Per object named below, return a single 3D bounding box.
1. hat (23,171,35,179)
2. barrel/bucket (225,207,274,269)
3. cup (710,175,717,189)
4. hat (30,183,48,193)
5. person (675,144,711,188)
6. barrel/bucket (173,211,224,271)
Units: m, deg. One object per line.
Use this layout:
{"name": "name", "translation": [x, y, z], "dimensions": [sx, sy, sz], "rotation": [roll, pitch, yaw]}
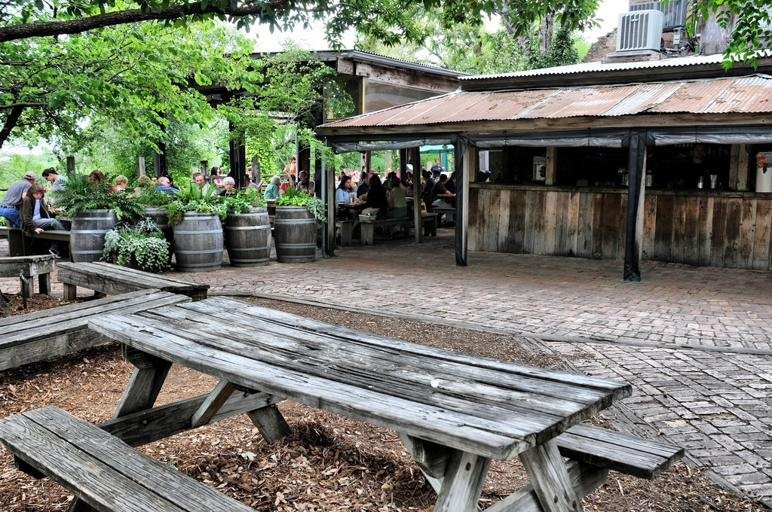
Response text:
{"name": "hat", "translation": [-7.778, -1.776, 12.487], "dimensions": [0.229, 0.222, 0.268], "rotation": [1, 9, -24]}
{"name": "barrel/bucket", "translation": [-2.867, -0.401, 11.713], "dimensions": [0.982, 1.184, 1.022], "rotation": [-1, 7, 0]}
{"name": "cup", "translation": [6.859, -1.574, 12.005], "dimensions": [0.150, 0.265, 0.487], "rotation": [8, 14, 28]}
{"name": "hat", "translation": [-7.291, -1.441, 11.986], "dimensions": [0.275, 0.225, 0.210], "rotation": [0, 8, -39]}
{"name": "person", "translation": [6.769, -2.018, 12.657], "dimensions": [0.596, 0.916, 0.352], "rotation": [9, 16, 32]}
{"name": "barrel/bucket", "translation": [-3.476, -0.257, 11.131], "dimensions": [1.152, 1.043, 1.058], "rotation": [0, -1, 0]}
